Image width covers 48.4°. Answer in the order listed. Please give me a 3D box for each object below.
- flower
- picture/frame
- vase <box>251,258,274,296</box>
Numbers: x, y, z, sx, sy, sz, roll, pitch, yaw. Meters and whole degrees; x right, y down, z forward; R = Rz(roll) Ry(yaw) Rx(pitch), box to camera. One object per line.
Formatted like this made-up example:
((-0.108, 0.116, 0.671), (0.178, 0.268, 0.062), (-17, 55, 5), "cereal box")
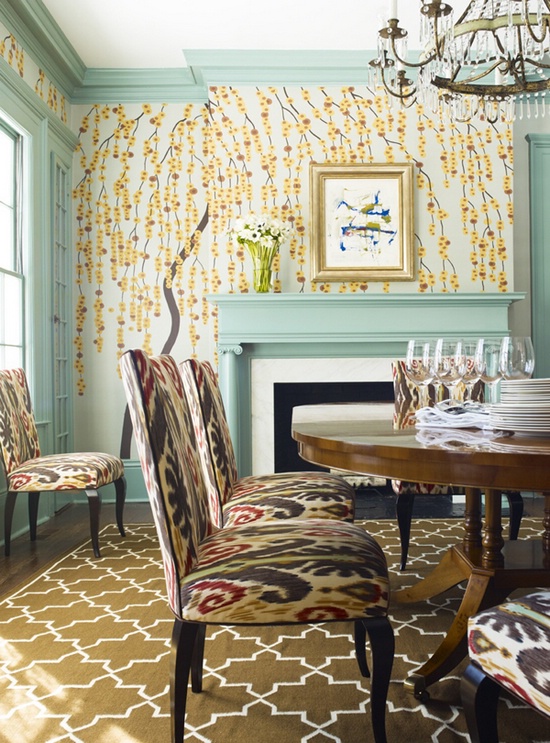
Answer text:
((-0.086, -0.731, 3.880), (0.434, 0.529, 0.457), (1, 8, 8), "flower")
((0.558, -0.966, 4.005), (0.775, 0.819, 0.059), (0, 2, 0), "picture/frame")
((-0.084, -0.602, 3.909), (0.196, 0.298, 0.182), (1, -1, -3), "vase")
